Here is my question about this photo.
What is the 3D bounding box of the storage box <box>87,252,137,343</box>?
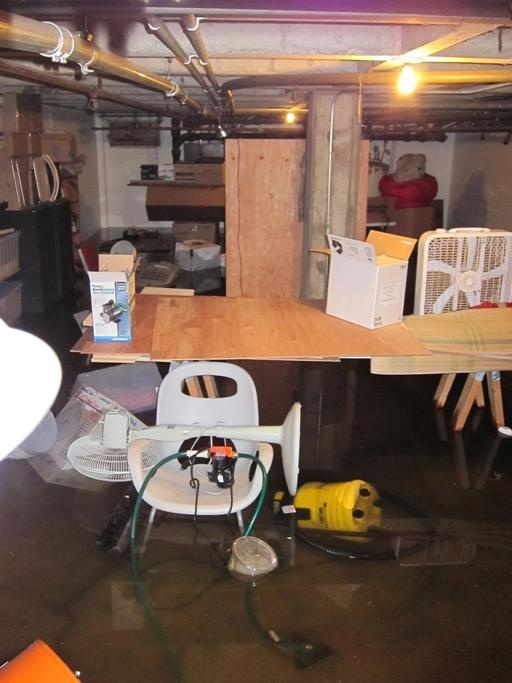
[{"bbox_3d":[-0.707,-0.222,2.642,0.225,0.352,0.577,-2,15,-13],"label":"storage box"}]

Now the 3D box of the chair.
[{"bbox_3d":[-0.252,0.540,2.248,0.637,0.708,0.587,-4,16,-18],"label":"chair"}]

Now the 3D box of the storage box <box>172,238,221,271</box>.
[{"bbox_3d":[-0.877,-1.357,8.288,0.589,0.365,0.568,-10,23,-31],"label":"storage box"}]

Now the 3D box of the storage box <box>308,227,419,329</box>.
[{"bbox_3d":[0.566,-0.375,2.955,0.519,0.520,0.558,-18,28,-41],"label":"storage box"}]
